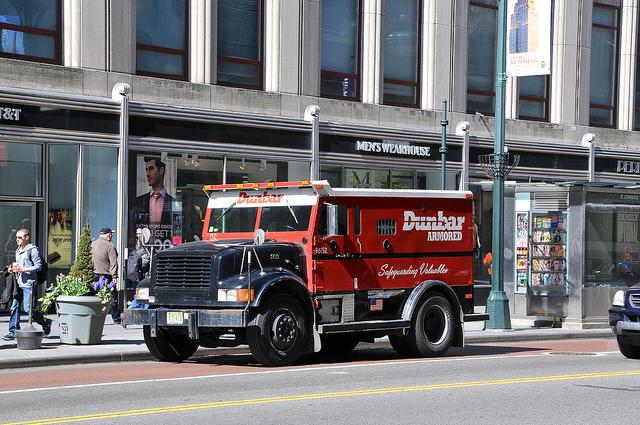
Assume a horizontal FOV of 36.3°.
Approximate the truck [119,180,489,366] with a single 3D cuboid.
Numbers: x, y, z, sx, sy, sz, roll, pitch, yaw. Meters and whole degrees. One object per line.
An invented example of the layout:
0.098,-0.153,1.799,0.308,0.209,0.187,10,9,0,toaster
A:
-0.119,1.450,22.554,6.983,3.198,4.093,6,-9,-39,truck
